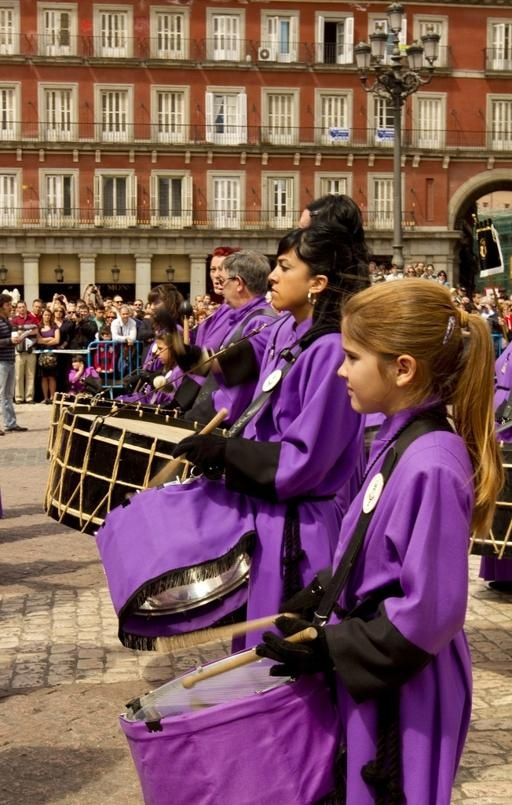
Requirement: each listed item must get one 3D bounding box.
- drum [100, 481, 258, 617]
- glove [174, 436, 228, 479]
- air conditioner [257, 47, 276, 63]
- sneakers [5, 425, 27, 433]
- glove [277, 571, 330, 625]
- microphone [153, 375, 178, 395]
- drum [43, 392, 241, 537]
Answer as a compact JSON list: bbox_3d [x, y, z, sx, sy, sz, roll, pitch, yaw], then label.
[{"bbox_3d":[-0.215,0.336,2.615,0.350,0.246,0.306,-2,-40,-40],"label":"drum"},{"bbox_3d":[-0.130,0.140,2.562,0.091,0.046,0.119,7,6,-28],"label":"glove"},{"bbox_3d":[0.390,-12.159,35.712,0.595,0.528,0.251,0,2,-7],"label":"air conditioner"},{"bbox_3d":[-3.119,0.361,13.381,0.268,0.123,0.103,-1,2,-20],"label":"sneakers"},{"bbox_3d":[0.109,0.411,2.192,0.102,0.106,0.146,-1,3,-28],"label":"glove"},{"bbox_3d":[-0.513,-0.095,5.874,0.063,0.071,0.214,15,-13,-5],"label":"microphone"},{"bbox_3d":[-0.463,0.158,3.777,0.610,0.430,0.620,18,6,-2],"label":"drum"}]
